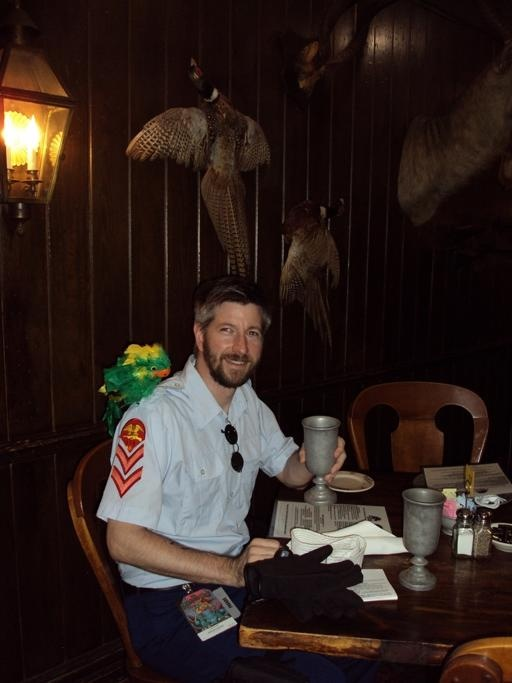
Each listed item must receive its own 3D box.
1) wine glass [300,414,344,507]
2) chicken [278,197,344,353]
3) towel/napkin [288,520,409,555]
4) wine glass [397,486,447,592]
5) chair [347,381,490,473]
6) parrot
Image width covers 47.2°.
[{"bbox_3d":[0.139,0.270,1.414,0.087,0.228,0.116,0,16,-21],"label":"wine glass"},{"bbox_3d":[0.236,-0.311,2.592,0.199,0.721,0.395,2,14,-30],"label":"chicken"},{"bbox_3d":[0.194,0.384,1.175,0.254,0.064,0.086,4,-1,-8],"label":"towel/napkin"},{"bbox_3d":[0.291,0.344,1.036,0.073,0.181,0.096,3,13,3],"label":"wine glass"},{"bbox_3d":[0.567,0.278,2.088,0.363,0.546,0.362,-1,-3,4],"label":"chair"},{"bbox_3d":[-0.284,0.118,1.370,0.210,0.239,0.174,-1,-7,12],"label":"parrot"}]
